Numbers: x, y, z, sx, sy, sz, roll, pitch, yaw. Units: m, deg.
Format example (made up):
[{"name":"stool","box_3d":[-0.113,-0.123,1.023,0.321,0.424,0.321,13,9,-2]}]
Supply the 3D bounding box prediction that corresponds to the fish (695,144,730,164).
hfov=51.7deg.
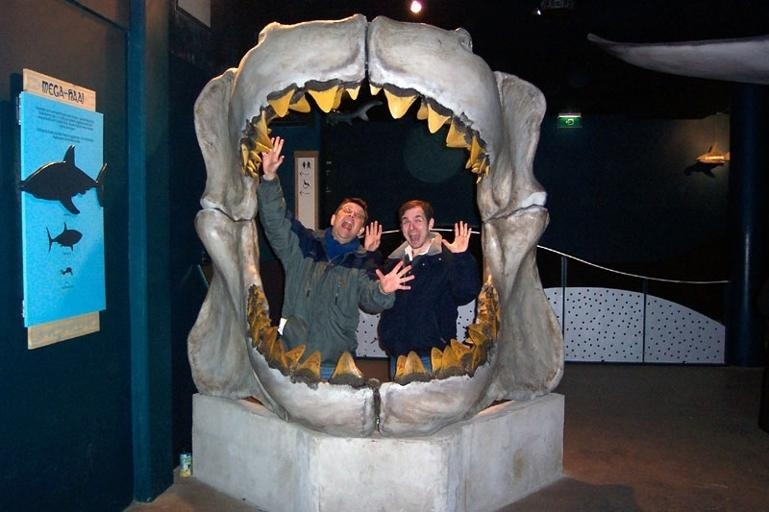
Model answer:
[{"name":"fish","box_3d":[3.795,-1.138,9.043,0.425,0.190,0.269,-5,100,7]}]

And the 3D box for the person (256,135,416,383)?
[{"name":"person","box_3d":[-0.337,0.114,5.065,0.974,1.293,1.422,16,110,21]}]
